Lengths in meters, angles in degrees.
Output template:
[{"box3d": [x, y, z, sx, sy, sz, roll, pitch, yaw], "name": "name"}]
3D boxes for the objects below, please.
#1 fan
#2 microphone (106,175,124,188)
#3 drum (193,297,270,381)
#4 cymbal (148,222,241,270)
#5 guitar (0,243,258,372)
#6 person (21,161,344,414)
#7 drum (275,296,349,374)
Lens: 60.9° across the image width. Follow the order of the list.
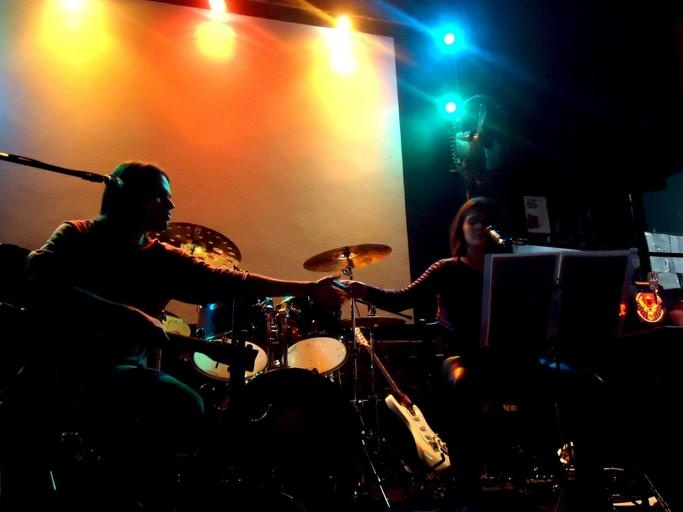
[{"box3d": [1.353, -1.146, 5.878, 0.544, 0.890, 0.260, -5, -15, 41], "name": "fan"}, {"box3d": [-1.237, -0.401, 3.159, 0.066, 0.025, 0.047, 22, 11, 41], "name": "microphone"}, {"box3d": [-0.726, 0.546, 3.919, 0.497, 0.496, 0.513, 9, -48, -18], "name": "drum"}, {"box3d": [-1.165, -0.014, 4.724, 0.516, 0.251, 0.507, 37, -51, -23], "name": "cymbal"}, {"box3d": [-1.104, 0.273, 3.266, 1.575, 0.613, 0.171, 19, 23, -8], "name": "guitar"}, {"box3d": [-0.885, 0.213, 3.639, 1.869, 1.443, 0.778, 8, -9, -20], "name": "person"}, {"box3d": [-0.291, 0.662, 4.923, 0.609, 0.585, 0.594, 14, -46, -20], "name": "drum"}]
